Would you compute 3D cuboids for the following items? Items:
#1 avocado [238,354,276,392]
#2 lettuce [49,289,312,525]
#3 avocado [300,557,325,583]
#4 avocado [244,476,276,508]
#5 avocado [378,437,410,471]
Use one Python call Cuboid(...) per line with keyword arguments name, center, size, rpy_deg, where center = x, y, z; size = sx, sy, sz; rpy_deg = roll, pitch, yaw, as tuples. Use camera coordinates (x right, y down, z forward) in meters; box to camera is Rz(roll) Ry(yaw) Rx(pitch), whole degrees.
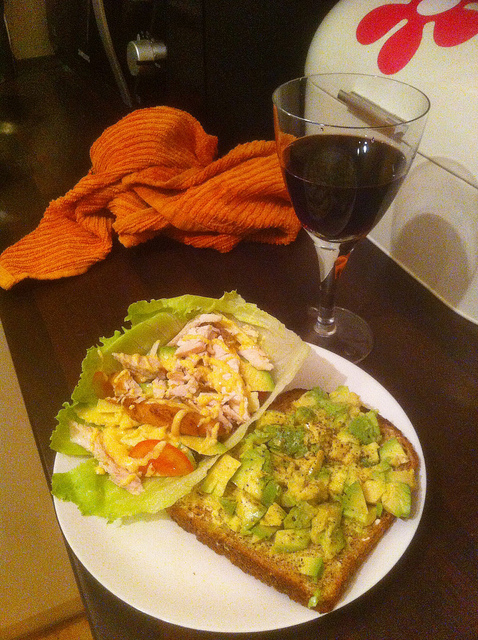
Cuboid(name="avocado", center=(0.033, 0.091, 0.868), size=(0.048, 0.022, 0.061), rpy_deg=(-22, 73, -17))
Cuboid(name="lettuce", center=(-0.191, 0.089, 0.907), size=(0.501, 0.305, 0.409), rpy_deg=(-22, 36, -36))
Cuboid(name="avocado", center=(0.086, 0.300, 0.602), size=(0.026, 0.024, 0.028), rpy_deg=(14, 56, 14))
Cuboid(name="avocado", center=(0.029, 0.229, 0.659), size=(0.039, 0.038, 0.014), rpy_deg=(10, 6, 40))
Cuboid(name="avocado", center=(0.218, 0.188, 0.700), size=(0.040, 0.013, 0.035), rpy_deg=(-35, 65, -5))
